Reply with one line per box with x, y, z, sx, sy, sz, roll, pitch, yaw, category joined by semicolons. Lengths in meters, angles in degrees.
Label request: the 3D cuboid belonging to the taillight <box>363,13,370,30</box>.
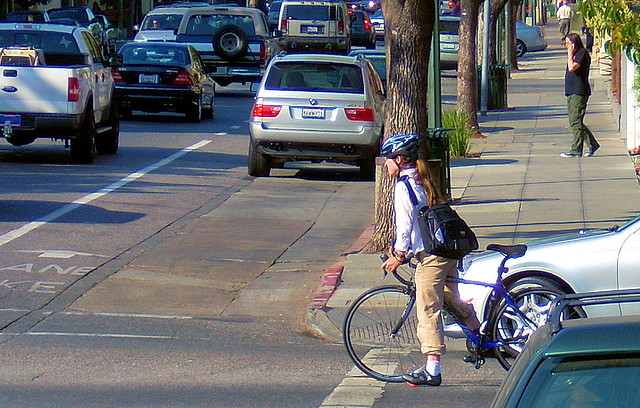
2.014;-7.774;50.222;0.202;0.515;0.373;3;20;15;taillight

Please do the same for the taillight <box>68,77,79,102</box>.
-4.517;-2.094;21.372;0.258;0.451;0.125;-12;22;-24;taillight

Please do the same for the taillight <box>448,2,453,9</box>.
5.458;-8.243;48.525;0.111;0.259;0.310;-12;21;-25;taillight

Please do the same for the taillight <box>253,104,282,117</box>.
-0.956;-1.689;21.247;0.362;0.113;0.269;1;2;34;taillight

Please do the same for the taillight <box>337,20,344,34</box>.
0.759;-6.330;41.744;0.237;0.506;0.087;-6;20;-9;taillight

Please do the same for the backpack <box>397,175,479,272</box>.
1.264;0.169;12.407;0.791;0.821;0.399;2;20;13;backpack

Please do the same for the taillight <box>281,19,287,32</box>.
-1.296;-6.468;42.382;0.221;0.444;0.218;0;20;8;taillight
